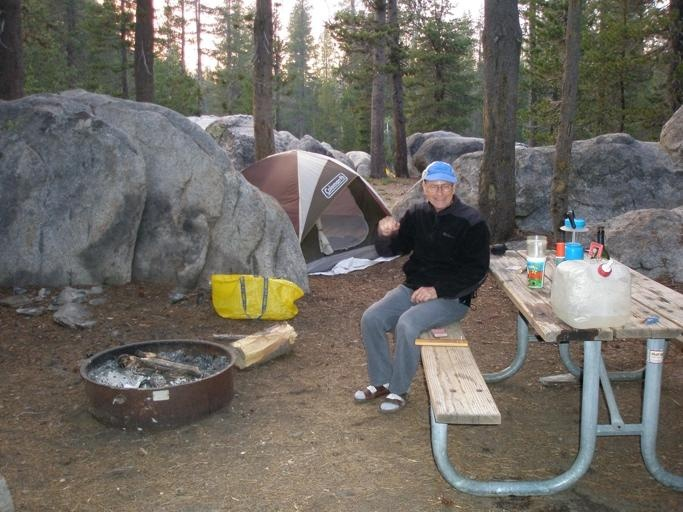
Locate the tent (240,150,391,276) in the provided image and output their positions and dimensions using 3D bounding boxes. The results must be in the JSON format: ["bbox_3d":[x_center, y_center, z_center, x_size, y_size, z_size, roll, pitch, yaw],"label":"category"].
[{"bbox_3d":[-0.641,-0.842,13.627,2.337,1.521,2.429,16,23,40],"label":"tent"}]

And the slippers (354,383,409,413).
[{"bbox_3d":[0.390,1.568,8.201,0.408,0.140,0.293,18,3,-42],"label":"slippers"}]

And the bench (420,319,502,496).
[{"bbox_3d":[1.146,1.555,7.467,0.372,0.377,1.535,-8,21,5],"label":"bench"}]

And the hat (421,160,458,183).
[{"bbox_3d":[1.044,-0.895,8.209,0.349,0.221,0.372,2,9,4],"label":"hat"}]

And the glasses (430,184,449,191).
[{"bbox_3d":[1.041,-0.723,8.074,0.192,0.087,0.031,2,10,2],"label":"glasses"}]

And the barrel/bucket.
[{"bbox_3d":[2.203,0.311,6.845,0.621,0.637,0.612,0,5,0],"label":"barrel/bucket"}]

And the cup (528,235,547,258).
[{"bbox_3d":[1.929,-0.090,7.594,0.220,0.229,0.209,0,5,0],"label":"cup"}]
